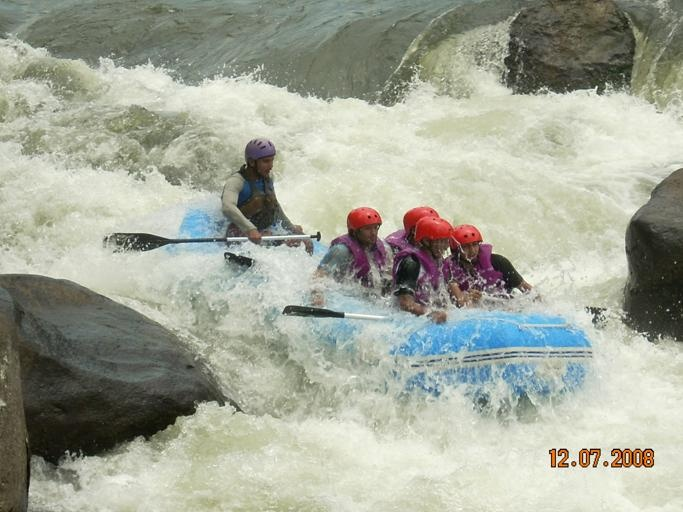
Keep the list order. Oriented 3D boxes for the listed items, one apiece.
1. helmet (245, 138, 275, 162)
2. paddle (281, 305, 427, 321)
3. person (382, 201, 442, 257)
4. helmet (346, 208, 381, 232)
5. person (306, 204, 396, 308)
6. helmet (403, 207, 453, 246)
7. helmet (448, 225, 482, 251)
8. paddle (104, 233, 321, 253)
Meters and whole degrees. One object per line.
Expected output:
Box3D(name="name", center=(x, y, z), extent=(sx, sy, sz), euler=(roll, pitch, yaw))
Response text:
Box3D(name="helmet", center=(-1.189, -1.611, 18.337), extent=(0.402, 0.297, 0.284), euler=(6, 28, 14))
Box3D(name="paddle", center=(0.222, 0.752, 16.500), extent=(1.553, 0.202, 0.070), euler=(5, 0, 17))
Box3D(name="person", center=(1.022, -0.374, 17.495), extent=(0.778, 0.725, 0.586), euler=(0, 2, 25))
Box3D(name="helmet", center=(0.317, -0.522, 16.986), extent=(0.380, 0.220, 0.295), euler=(16, 14, 38))
Box3D(name="person", center=(0.167, 0.047, 17.400), extent=(0.547, 1.622, 1.591), euler=(-6, -5, 44))
Box3D(name="helmet", center=(1.163, -0.383, 16.884), extent=(0.643, 0.468, 0.457), euler=(30, 37, 21))
Box3D(name="helmet", center=(1.700, -0.277, 17.091), extent=(0.289, 0.391, 0.302), euler=(0, 64, -34))
Box3D(name="paddle", center=(-1.908, -0.189, 17.963), extent=(2.627, 0.213, 0.268), euler=(1, 76, 1))
